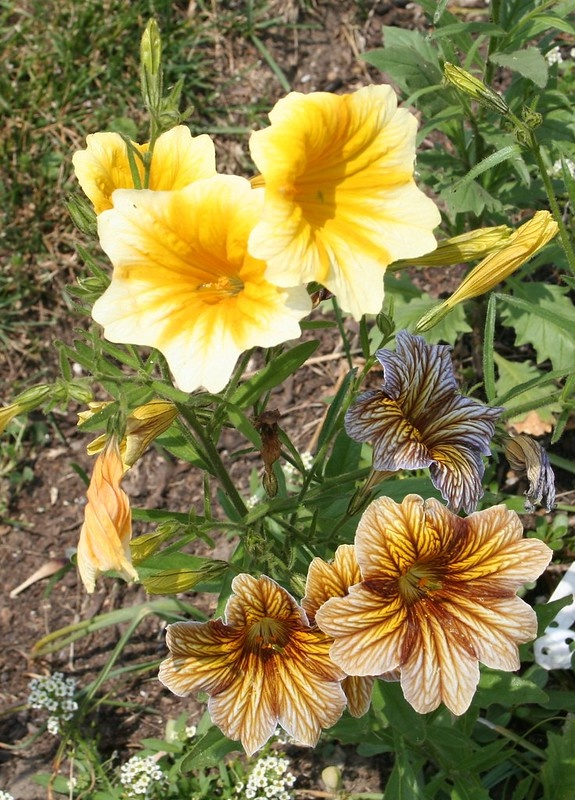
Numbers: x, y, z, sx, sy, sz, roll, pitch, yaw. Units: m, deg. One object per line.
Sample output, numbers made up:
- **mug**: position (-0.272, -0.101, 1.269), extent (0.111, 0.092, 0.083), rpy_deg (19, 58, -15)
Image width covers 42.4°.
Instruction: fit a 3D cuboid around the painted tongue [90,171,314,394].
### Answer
- **painted tongue**: position (-0.147, -0.195, 1.176), extent (0.341, 0.300, 0.227), rpy_deg (-28, 31, -9)
